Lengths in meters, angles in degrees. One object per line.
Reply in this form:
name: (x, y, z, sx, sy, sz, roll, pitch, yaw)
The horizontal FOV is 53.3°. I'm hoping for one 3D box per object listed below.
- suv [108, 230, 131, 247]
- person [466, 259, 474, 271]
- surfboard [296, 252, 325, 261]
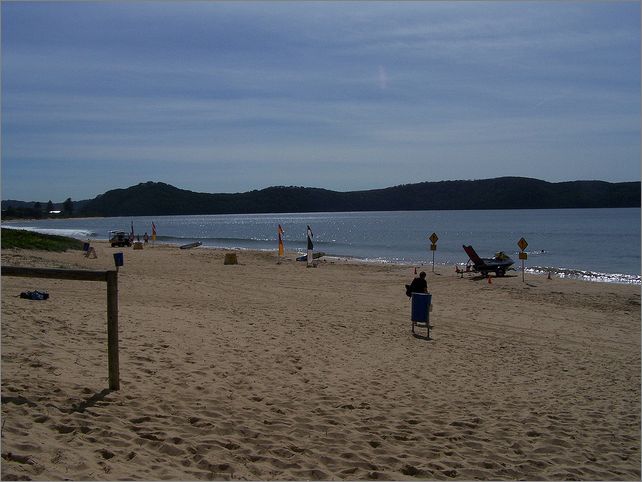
suv: (-14.645, -0.139, 46.650, 1.274, 1.249, 2.866, 2, 10, -14)
person: (7.409, 1.168, 31.803, 0.272, 0.797, 0.749, -6, 26, 7)
surfboard: (-0.619, 0.909, 36.765, 1.945, 0.496, 0.242, -3, -12, -19)
